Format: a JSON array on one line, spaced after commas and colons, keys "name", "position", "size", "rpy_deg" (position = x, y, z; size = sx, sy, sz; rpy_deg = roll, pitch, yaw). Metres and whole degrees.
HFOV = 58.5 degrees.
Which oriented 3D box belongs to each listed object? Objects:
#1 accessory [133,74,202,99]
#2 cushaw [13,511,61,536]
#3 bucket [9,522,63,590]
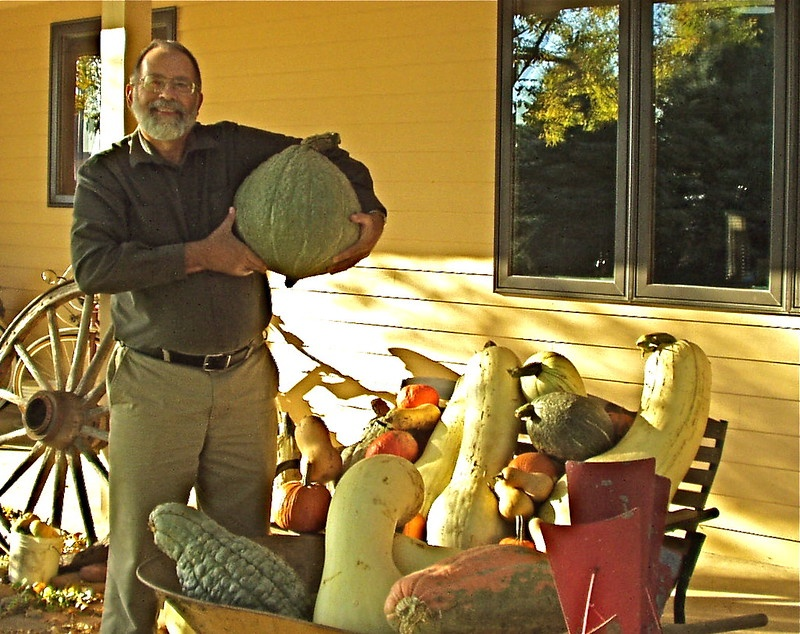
[{"name": "accessory", "position": [-0.882, -0.870, 2.722], "size": [0.221, 0.069, 0.089], "rpy_deg": [0, 3, -17]}, {"name": "cushaw", "position": [-2.132, 1.218, 4.171], "size": [0.165, 0.059, 0.157], "rpy_deg": [21, -2, -16]}, {"name": "bucket", "position": [-2.064, 1.371, 4.203], "size": [0.390, 0.309, 0.343], "rpy_deg": [9, 6, -14]}]
